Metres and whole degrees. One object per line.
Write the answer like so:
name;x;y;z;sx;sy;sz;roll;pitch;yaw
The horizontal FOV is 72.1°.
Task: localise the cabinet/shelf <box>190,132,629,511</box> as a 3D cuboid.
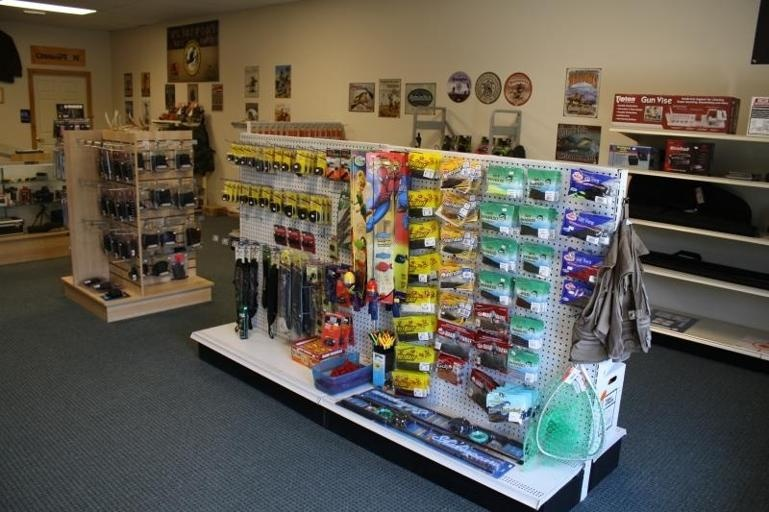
cabinet/shelf;0.173;0.597;4.109;2.757;1.642;0.997;15;14;40
